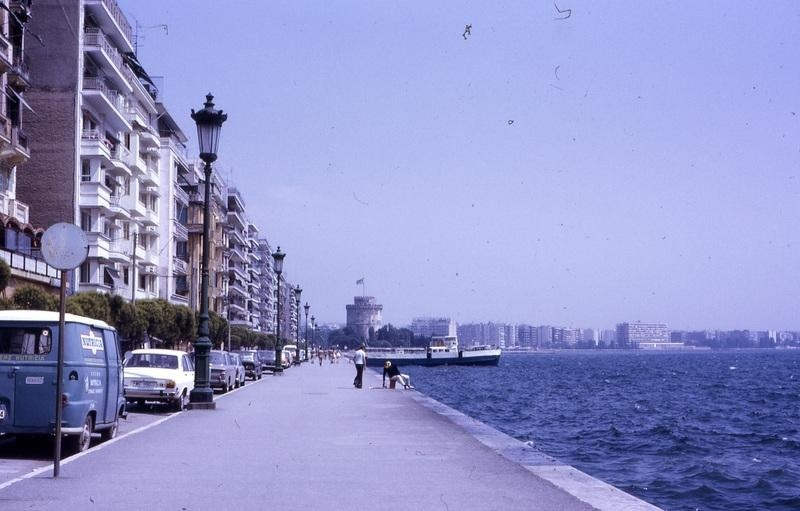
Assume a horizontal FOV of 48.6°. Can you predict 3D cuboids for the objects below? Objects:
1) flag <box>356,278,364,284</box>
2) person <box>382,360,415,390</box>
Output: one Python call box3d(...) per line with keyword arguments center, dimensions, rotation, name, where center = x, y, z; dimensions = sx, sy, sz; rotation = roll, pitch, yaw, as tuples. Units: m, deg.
box3d(center=(-3.817, 2.668, 88.453), dimensions=(0.667, 0.781, 0.061), rotation=(3, 10, 8), name="flag")
box3d(center=(-0.056, 6.193, 44.236), dimensions=(1.323, 0.646, 2.449), rotation=(-26, -36, 7), name="person")
